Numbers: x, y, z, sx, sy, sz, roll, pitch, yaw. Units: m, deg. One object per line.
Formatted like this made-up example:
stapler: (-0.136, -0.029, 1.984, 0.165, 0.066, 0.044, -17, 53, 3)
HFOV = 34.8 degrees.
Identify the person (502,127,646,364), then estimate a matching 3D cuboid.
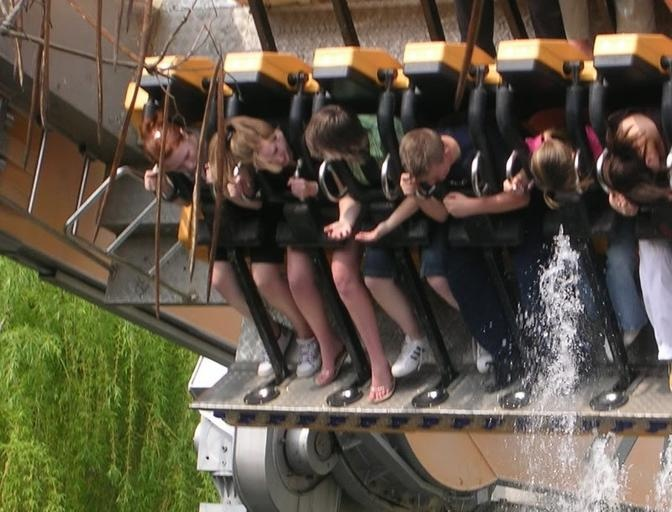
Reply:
person: (1.153, -0.094, 5.076, 0.310, 0.956, 0.989, -7, 75, 50)

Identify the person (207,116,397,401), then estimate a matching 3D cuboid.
person: (-0.143, -0.020, 5.439, 0.441, 1.546, 0.896, -13, 35, 20)
